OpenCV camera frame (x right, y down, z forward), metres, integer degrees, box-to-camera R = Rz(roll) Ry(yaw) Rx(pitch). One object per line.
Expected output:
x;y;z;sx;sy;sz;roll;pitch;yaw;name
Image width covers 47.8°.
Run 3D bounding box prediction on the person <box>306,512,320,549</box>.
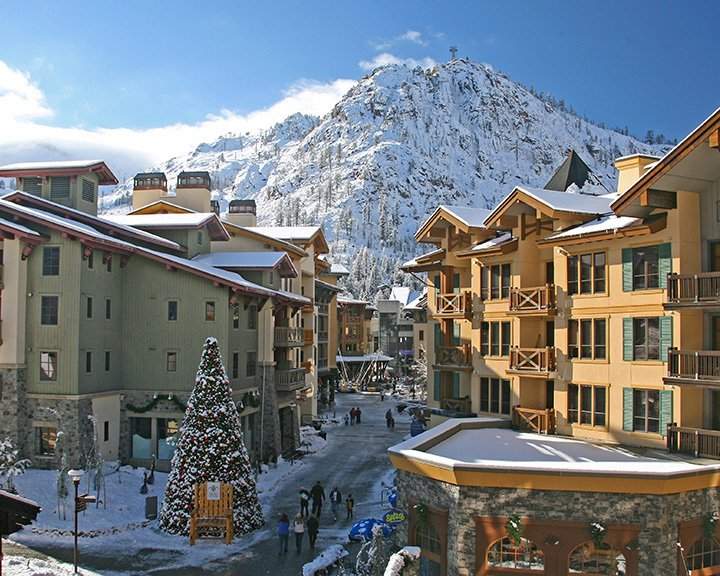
-2.227;11.434;38.240;0.444;1.404;1.396;0;-9;-6;person
